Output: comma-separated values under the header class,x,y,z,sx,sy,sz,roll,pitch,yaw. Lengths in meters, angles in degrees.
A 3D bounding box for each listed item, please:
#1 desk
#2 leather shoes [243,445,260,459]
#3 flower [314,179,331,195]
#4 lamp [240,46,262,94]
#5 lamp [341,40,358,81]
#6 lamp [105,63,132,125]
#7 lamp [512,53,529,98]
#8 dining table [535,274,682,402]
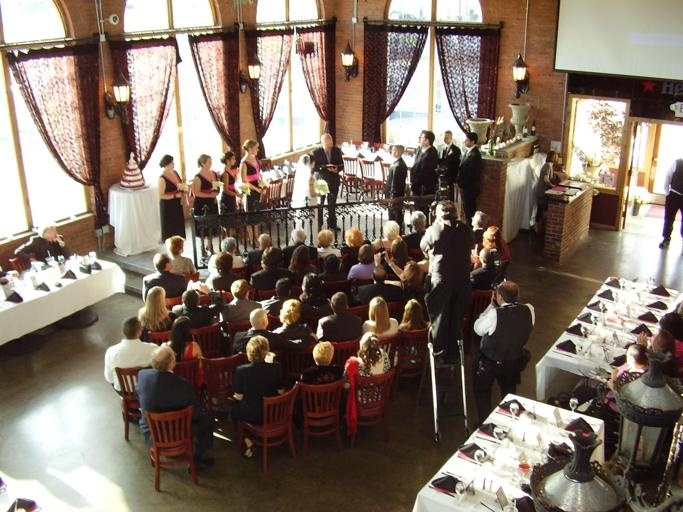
class,x,y,z,sx,sy,sz,roll,pitch,yaw
desk,-3.776,-0.622,10.613,0.904,1.055,0.892,-20,-1,5
leather shoes,-1.030,2.151,6.255,0.067,0.087,0.211,3,10,0
flower,-0.384,-1.235,10.537,0.234,0.269,0.404,-4,19,-10
lamp,-2.058,-4.088,12.651,0.464,0.884,0.518,-2,18,-5
lamp,0.235,-4.867,14.286,0.402,0.916,0.928,0,18,1
lamp,-4.053,-2.888,10.166,0.437,1.010,0.306,-5,6,32
lamp,3.897,-3.888,12.306,0.333,0.917,0.677,7,20,22
dining table,3.235,0.877,7.020,1.215,0.604,2.439,19,45,35
